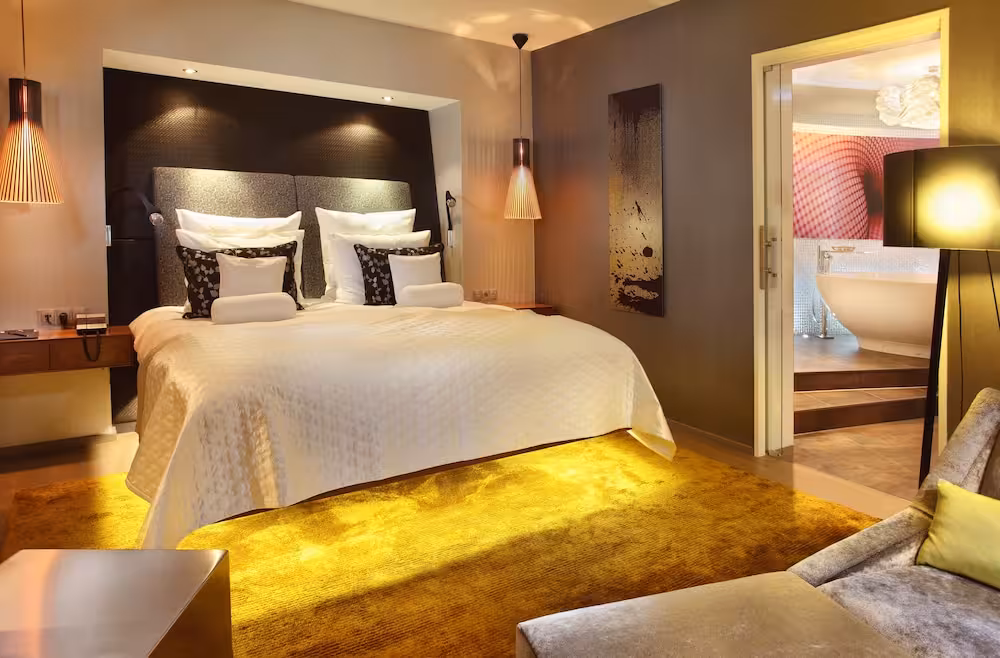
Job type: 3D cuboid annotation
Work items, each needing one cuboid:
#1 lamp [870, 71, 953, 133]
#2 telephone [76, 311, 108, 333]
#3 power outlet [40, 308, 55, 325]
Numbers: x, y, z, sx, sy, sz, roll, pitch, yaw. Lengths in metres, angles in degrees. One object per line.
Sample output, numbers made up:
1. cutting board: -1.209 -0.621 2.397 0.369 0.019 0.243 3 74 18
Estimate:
1. lamp: 4.087 -2.252 6.628 0.507 0.550 1.556 4 13 31
2. telephone: -2.843 -0.042 4.617 0.153 0.117 0.155 -1 4 -36
3. power outlet: -3.182 -0.065 4.685 0.117 0.121 0.022 -7 12 -20
